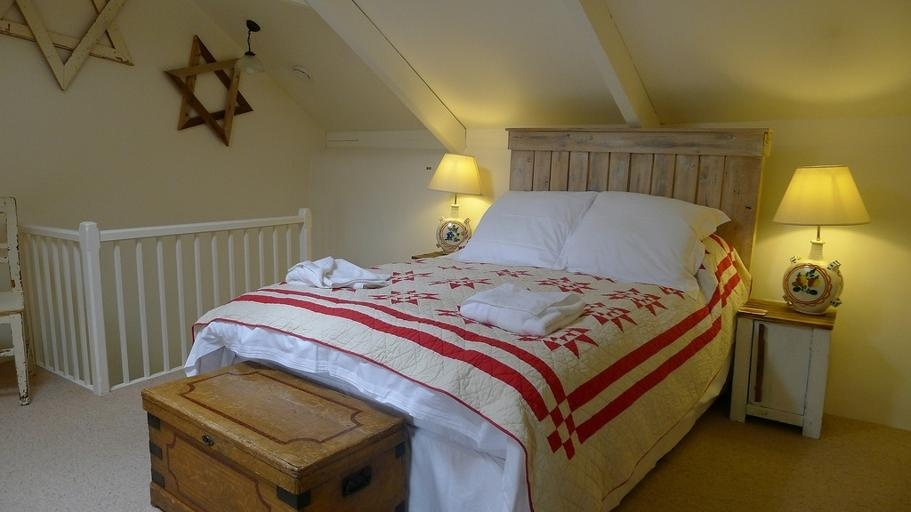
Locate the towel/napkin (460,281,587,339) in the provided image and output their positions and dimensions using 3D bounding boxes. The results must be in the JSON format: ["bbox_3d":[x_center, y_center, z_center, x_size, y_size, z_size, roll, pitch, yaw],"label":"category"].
[{"bbox_3d":[0.380,0.317,3.232,0.693,0.212,0.353,4,8,12],"label":"towel/napkin"}]

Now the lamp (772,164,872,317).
[{"bbox_3d":[2.560,-0.115,3.949,0.368,1.044,0.457,-4,11,-37],"label":"lamp"}]

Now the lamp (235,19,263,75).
[{"bbox_3d":[-1.903,-1.902,5.146,0.196,0.456,0.437,-1,9,-20],"label":"lamp"}]
